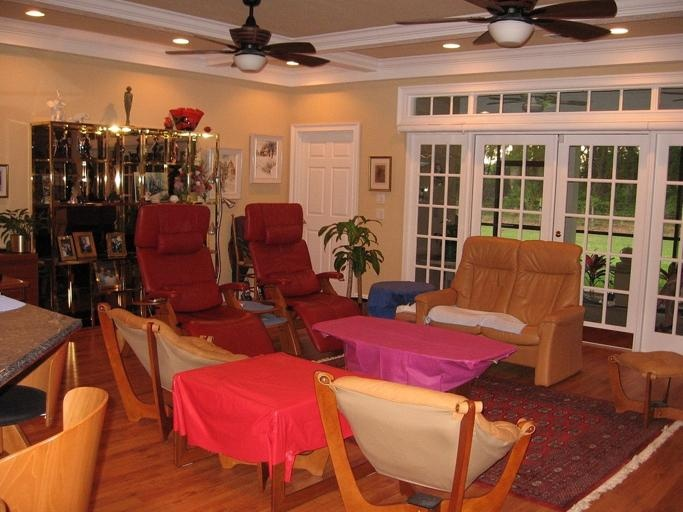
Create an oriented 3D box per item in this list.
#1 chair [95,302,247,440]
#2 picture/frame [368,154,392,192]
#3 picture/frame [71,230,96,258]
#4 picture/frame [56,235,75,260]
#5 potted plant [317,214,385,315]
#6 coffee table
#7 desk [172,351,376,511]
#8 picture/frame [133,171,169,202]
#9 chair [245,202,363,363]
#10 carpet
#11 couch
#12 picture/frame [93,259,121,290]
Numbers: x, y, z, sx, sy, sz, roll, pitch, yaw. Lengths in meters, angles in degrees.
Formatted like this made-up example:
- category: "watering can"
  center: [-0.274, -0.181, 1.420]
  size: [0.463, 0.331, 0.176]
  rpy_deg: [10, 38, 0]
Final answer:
- category: "chair"
  center: [-0.999, 0.735, 3.454]
  size: [0.927, 0.807, 1.087]
  rpy_deg: [7, 5, 38]
- category: "picture/frame"
  center: [0.534, -1.138, 7.030]
  size: [0.397, 0.467, 0.037]
  rpy_deg: [11, 19, 41]
- category: "picture/frame"
  center: [-2.834, -0.115, 5.590]
  size: [0.213, 0.294, 0.153]
  rpy_deg: [-6, 11, -41]
- category: "picture/frame"
  center: [-2.951, -0.084, 5.446]
  size: [0.174, 0.255, 0.117]
  rpy_deg: [-6, 11, -41]
- category: "potted plant"
  center: [0.144, 0.062, 6.218]
  size: [0.600, 0.802, 0.543]
  rpy_deg: [17, 12, -10]
- category: "coffee table"
  center: [0.429, 0.697, 3.741]
  size: [1.183, 0.237, 0.607]
  rpy_deg: [7, 13, 26]
- category: "desk"
  center: [-0.303, 0.805, 2.802]
  size: [0.966, 0.489, 0.989]
  rpy_deg: [1, 2, 44]
- category: "picture/frame"
  center: [-2.264, -0.822, 5.972]
  size: [0.032, 0.266, 0.442]
  rpy_deg: [9, 7, 37]
- category: "chair"
  center: [-0.350, 0.220, 5.233]
  size: [0.900, 1.194, 1.413]
  rpy_deg: [-7, 23, -40]
- category: "carpet"
  center: [1.343, 1.122, 3.008]
  size: [0.828, 0.031, 0.840]
  rpy_deg: [-13, 13, -42]
- category: "couch"
  center: [1.579, 0.488, 5.043]
  size: [0.887, 1.094, 1.510]
  rpy_deg: [-20, 19, -38]
- category: "picture/frame"
  center: [-2.642, 0.216, 5.676]
  size: [0.053, 0.360, 0.391]
  rpy_deg: [-17, -9, 42]
